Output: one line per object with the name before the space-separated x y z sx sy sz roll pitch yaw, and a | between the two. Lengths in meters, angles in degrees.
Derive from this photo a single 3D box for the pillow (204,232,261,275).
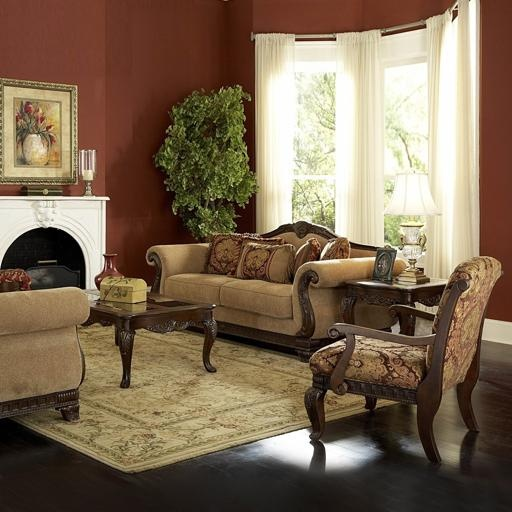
pillow | -0.296 0.005 5.146 0.520 0.477 0.157 8 -10 38

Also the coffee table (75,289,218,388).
coffee table | -0.784 0.475 3.466 0.639 0.411 0.851 1 2 -35

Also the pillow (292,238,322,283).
pillow | 0.461 0.049 4.093 0.154 0.442 0.379 23 -15 -14

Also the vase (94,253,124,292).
vase | -1.366 0.166 4.223 0.265 0.345 0.269 1 -3 34

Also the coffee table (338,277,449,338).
coffee table | 1.009 0.488 3.842 0.635 0.480 0.667 6 1 11

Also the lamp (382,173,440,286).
lamp | 1.284 -0.230 3.772 0.470 0.851 0.476 -1 4 -26

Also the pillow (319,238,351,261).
pillow | 0.740 -0.059 4.258 0.095 0.176 0.172 25 7 -17

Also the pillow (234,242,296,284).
pillow | 0.059 0.101 4.714 0.642 0.396 0.233 5 -20 41

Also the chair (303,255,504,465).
chair | 0.697 0.378 2.438 1.013 1.100 0.780 5 6 38

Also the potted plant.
potted plant | -0.679 -1.347 6.345 1.346 2.221 1.038 1 -2 0

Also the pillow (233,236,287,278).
pillow | 0.044 0.066 4.716 0.586 0.411 0.200 3 -25 34
